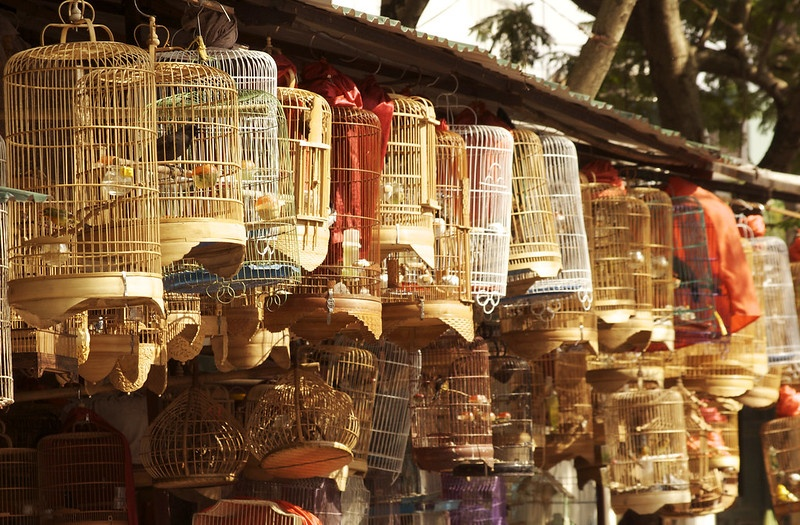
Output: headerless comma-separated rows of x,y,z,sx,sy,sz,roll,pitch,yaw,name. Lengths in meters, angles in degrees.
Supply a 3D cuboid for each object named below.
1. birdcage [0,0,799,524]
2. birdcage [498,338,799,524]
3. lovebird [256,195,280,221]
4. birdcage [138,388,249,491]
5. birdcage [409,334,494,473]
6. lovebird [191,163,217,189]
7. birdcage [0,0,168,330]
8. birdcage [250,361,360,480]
-0.117,-0.343,13.048,7.391,3.542,2.227,7,-16,-37,birdcage
2.165,1.800,15.449,2.398,1.830,1.929,0,-8,6,birdcage
-0.969,-0.414,11.133,0.193,0.185,0.174,-4,-2,17,lovebird
-1.693,1.410,12.537,0.913,0.826,0.856,0,14,-9,birdcage
0.499,1.241,13.914,0.838,1.143,0.709,-5,-4,26,birdcage
-1.371,-0.617,10.807,0.179,0.150,0.173,-5,-6,23,lovebird
-2.279,-0.723,10.647,1.157,2.324,0.645,-6,-14,18,birdcage
-0.833,1.253,12.647,0.925,0.805,0.839,8,12,28,birdcage
